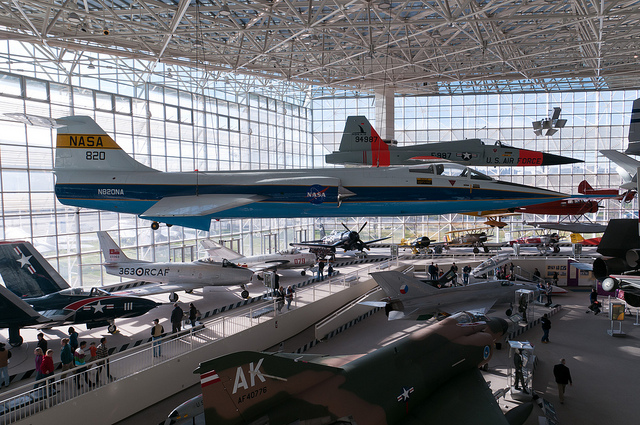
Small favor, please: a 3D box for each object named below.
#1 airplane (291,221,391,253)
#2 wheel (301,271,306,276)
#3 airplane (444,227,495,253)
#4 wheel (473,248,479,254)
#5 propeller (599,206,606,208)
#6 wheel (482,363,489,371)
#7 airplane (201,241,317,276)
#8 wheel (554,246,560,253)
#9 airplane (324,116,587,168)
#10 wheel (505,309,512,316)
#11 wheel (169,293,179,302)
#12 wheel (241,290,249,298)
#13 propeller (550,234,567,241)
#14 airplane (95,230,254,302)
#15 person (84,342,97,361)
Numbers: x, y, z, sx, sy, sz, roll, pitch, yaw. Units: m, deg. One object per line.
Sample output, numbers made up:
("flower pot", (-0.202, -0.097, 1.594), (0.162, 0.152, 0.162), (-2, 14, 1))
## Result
("airplane", (0.985, 1.734, 34.558), (5.848, 1.111, 4.764), (8, 6, 29))
("wheel", (-1.019, 3.658, 31.271), (0.209, 0.316, 0.376), (-5, 5, 6))
("airplane", (11.131, 1.898, 38.359), (3.619, 1.017, 3.006), (-3, 0, 2))
("wheel", (11.255, 2.703, 37.123), (0.689, 0.392, 0.127), (0, -5, 1))
("propeller", (19.294, -0.443, 35.220), (0.373, 0.065, 0.366), (-4, 6, -43))
("wheel", (7.420, 6.886, 22.997), (0.130, 0.310, 0.458), (8, -6, 43))
("airplane", (-3.680, 2.749, 32.346), (7.015, 1.605, 6.828), (-1, 7, -1))
("wheel", (16.928, 2.600, 36.754), (0.322, 0.378, 0.737), (-3, 4, 18))
("airplane", (6.700, -3.211, 25.588), (11.721, 1.608, 3.559), (0, 5, -6))
("wheel", (9.715, 5.113, 26.452), (0.265, 0.348, 0.284), (-5, 5, 0))
("wheel", (-7.365, 4.263, 25.872), (0.420, 0.452, 0.894), (-6, 5, -16))
("wheel", (-3.840, 4.166, 26.437), (0.438, 0.265, 0.078), (10, -15, 7))
("propeller", (17.505, 1.704, 37.880), (0.521, 0.429, 2.287), (-1, 4, 36))
("airplane", (-7.346, 3.066, 26.675), (6.531, 1.662, 5.589), (0, 3, -4))
("person", (-9.097, 5.568, 20.613), (0.315, 0.718, 0.606), (-9, 6, -24))
